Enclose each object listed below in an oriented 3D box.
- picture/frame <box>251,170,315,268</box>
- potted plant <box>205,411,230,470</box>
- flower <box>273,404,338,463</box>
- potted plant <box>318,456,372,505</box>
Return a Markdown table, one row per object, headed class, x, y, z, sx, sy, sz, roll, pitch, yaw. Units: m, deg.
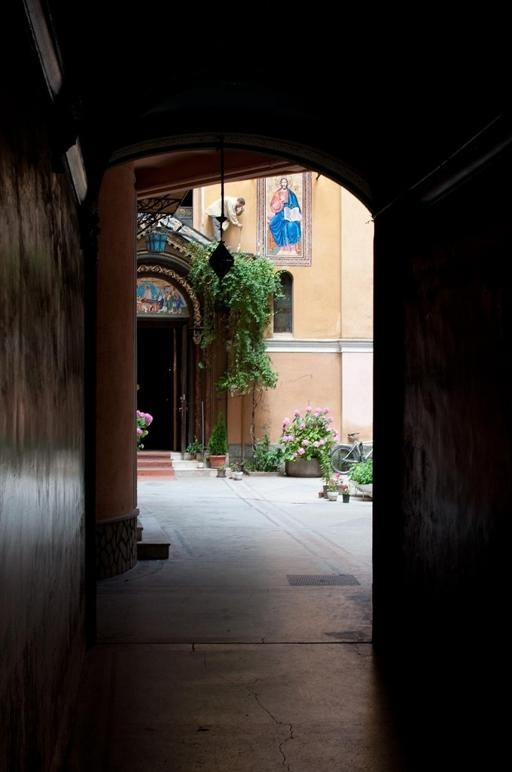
| class | x | y | z | sx | sy | sz | roll | pitch | yaw |
| --- | --- | --- | --- | --- | --- | --- | --- | --- | --- |
| picture/frame | 0.726 | -4.221 | 16.651 | 1.152 | 0.042 | 2.319 | 2 | -46 | 5 |
| potted plant | -0.881 | 1.303 | 15.039 | 0.423 | 1.267 | 0.626 | 1 | -4 | -6 |
| flower | 1.152 | 1.296 | 14.944 | 0.895 | 1.035 | 0.944 | -14 | -5 | 36 |
| potted plant | 1.528 | 1.744 | 11.460 | 0.920 | 0.860 | 0.991 | -4 | -4 | 40 |
